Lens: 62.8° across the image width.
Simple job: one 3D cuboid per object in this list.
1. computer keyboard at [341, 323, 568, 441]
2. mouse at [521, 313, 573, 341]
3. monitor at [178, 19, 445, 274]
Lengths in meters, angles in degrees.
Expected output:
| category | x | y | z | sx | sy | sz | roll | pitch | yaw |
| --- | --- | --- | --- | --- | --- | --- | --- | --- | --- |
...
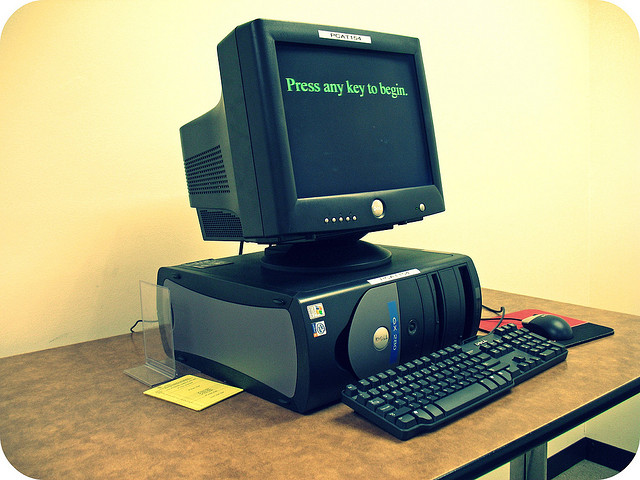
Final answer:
| category | x | y | z | sx | sy | sz | roll | pitch | yaw |
| --- | --- | --- | --- | --- | --- | --- | --- | --- | --- |
| computer keyboard | 0.296 | 0.282 | 1.083 | 0.512 | 0.086 | 0.145 | -9 | 14 | -28 |
| mouse | 0.544 | 0.189 | 1.252 | 0.058 | 0.035 | 0.095 | -3 | 19 | -42 |
| monitor | -0.029 | -0.228 | 1.372 | 0.534 | 0.573 | 0.536 | -9 | 10 | -36 |
